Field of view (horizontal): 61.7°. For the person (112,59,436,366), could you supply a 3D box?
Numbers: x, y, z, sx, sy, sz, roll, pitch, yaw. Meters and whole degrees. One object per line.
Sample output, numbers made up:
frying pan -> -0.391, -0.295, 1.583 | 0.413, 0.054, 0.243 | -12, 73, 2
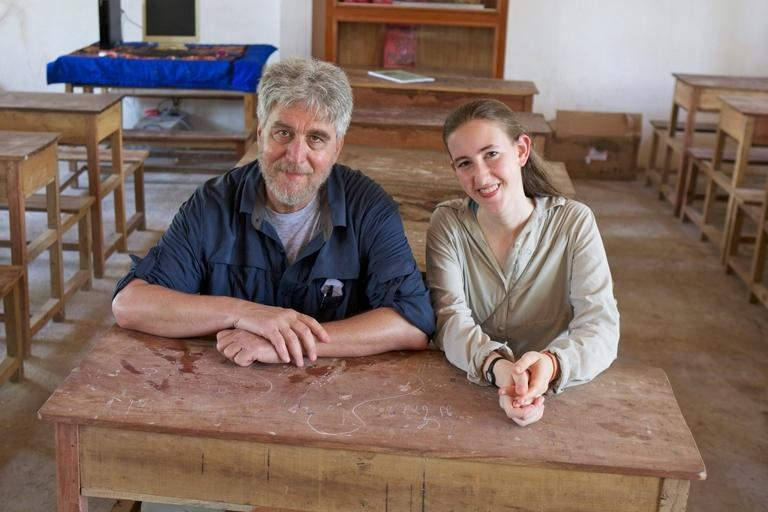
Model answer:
person -> -0.378, -0.151, 2.435 | 1.281, 1.005, 0.891 | 5, 21, 0

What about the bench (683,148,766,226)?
bench -> 2.884, -0.586, 5.457 | 0.847, 0.540, 0.426 | 3, 34, 9

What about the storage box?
storage box -> 2.412, -1.277, 7.423 | 1.254, 0.833, 0.842 | 3, 20, 6

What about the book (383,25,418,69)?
book -> 0.174, -2.185, 6.677 | 0.511, 0.460, 0.115 | 2, 6, 2

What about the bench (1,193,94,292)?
bench -> -2.115, -0.070, 4.082 | 0.664, 0.562, 0.416 | 4, 34, -2
